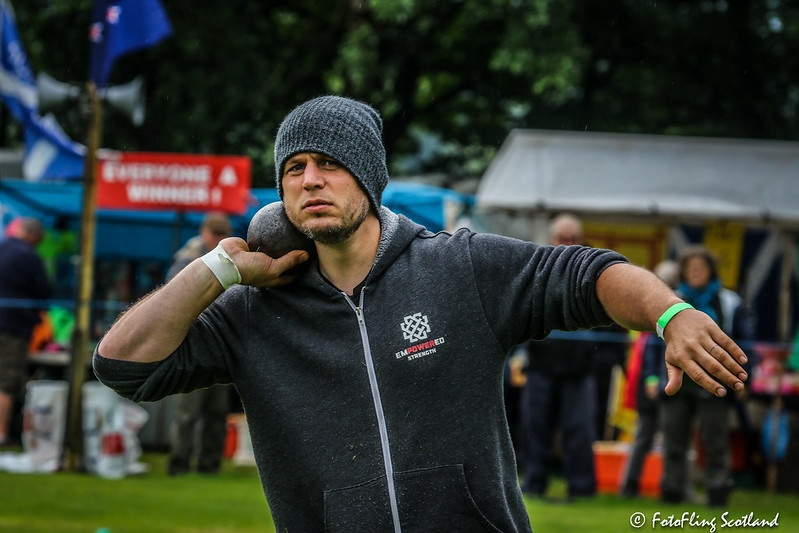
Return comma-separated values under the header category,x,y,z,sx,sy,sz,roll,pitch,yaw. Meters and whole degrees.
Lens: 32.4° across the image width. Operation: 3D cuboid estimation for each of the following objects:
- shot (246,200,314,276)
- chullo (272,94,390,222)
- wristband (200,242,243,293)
category,x,y,z,sx,sy,sz,roll,pitch,yaw
shot,-0.648,-0.107,7.515,0.392,0.400,0.304,-2,-21,-7
chullo,-0.374,-0.594,7.522,0.499,0.657,0.505,1,8,-4
wristband,-0.957,0.017,7.366,0.212,0.212,0.090,-36,-3,-6
